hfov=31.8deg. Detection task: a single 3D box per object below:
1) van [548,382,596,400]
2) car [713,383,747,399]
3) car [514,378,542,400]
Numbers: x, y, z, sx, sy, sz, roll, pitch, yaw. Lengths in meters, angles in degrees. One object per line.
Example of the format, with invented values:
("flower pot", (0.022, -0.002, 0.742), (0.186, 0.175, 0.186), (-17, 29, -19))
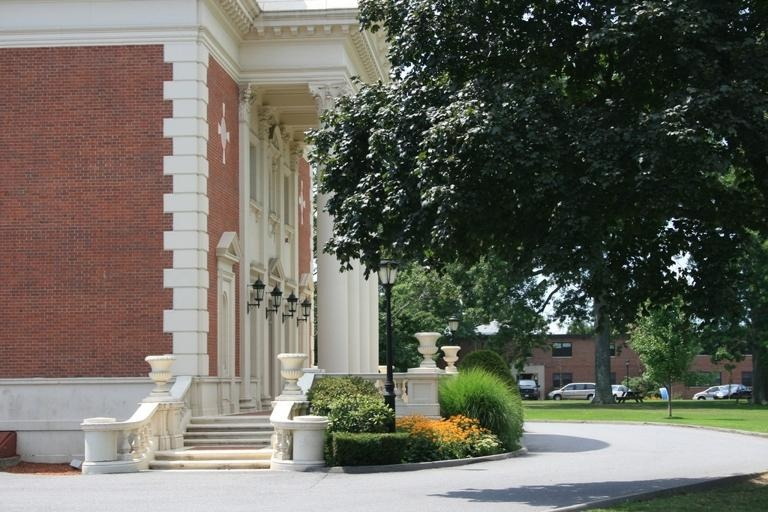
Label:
("van", (12.943, 9.295, 92.008), (2.652, 0.789, 1.344), (1, -5, 11))
("car", (24.575, 9.710, 95.680), (2.677, 0.928, 1.390), (1, -4, 0))
("car", (10.000, 9.162, 92.278), (1.287, 1.431, 2.383), (-4, -10, 1))
